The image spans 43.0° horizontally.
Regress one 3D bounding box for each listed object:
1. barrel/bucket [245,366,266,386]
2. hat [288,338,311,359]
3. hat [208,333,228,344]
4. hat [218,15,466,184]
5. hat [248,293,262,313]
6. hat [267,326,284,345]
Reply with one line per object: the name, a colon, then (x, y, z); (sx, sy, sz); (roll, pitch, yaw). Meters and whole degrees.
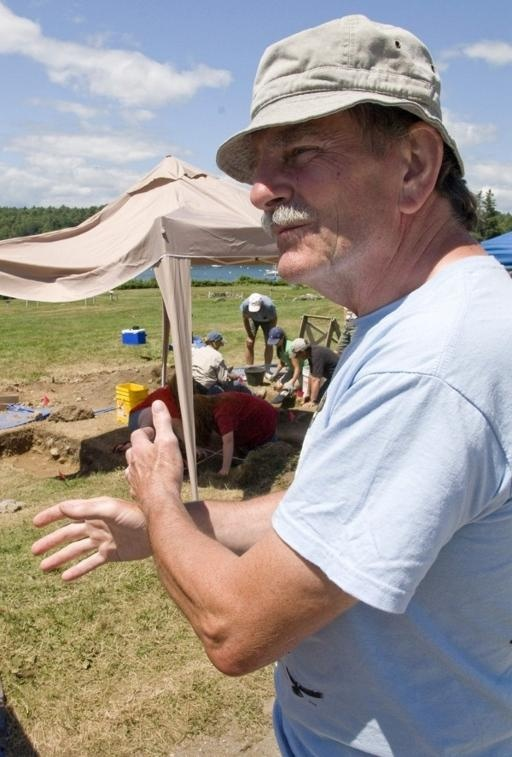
barrel/bucket: (-0.014, -0.034, 9.904); (0.307, 0.195, 0.295); (-2, 6, 0)
hat: (0.591, -0.379, 8.300); (0.218, 0.163, 0.296); (-14, 30, 31)
hat: (-0.537, -0.519, 8.541); (0.150, 0.112, 0.205); (9, 14, 41)
hat: (0.155, -0.447, 1.017); (0.344, 0.205, 0.183); (1, 14, 10)
hat: (-0.010, -1.222, 10.536); (0.213, 0.296, 0.119); (1, -11, 19)
hat: (0.310, -0.627, 9.513); (0.187, 0.142, 0.275); (4, 34, 29)
